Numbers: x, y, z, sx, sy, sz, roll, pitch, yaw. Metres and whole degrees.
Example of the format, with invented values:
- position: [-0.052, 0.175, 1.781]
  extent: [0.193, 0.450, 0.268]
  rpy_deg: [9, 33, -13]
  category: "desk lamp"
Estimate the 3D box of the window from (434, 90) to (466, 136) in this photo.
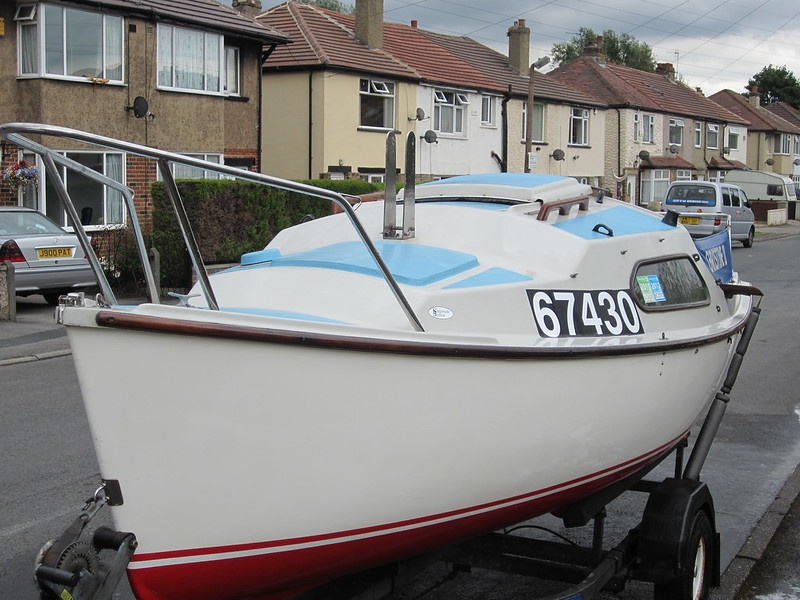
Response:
- position: [2.031, -7.912, 35.175]
  extent: [1.816, 1.929, 0.506]
  rpy_deg: [-6, 15, -38]
  category: "window"

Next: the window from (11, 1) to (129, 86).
- position: [-8.792, -6.730, 22.057]
  extent: [0.142, 1.561, 2.180]
  rpy_deg: [6, 14, 34]
  category: "window"

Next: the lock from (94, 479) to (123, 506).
- position: [-1.324, 0.874, 3.823]
  extent: [0.097, 0.124, 0.026]
  rpy_deg: [3, 14, 28]
  category: "lock"

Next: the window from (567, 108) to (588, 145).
- position: [9.238, -9.148, 44.295]
  extent: [0.110, 2.065, 1.766]
  rpy_deg: [-1, 5, 35]
  category: "window"
